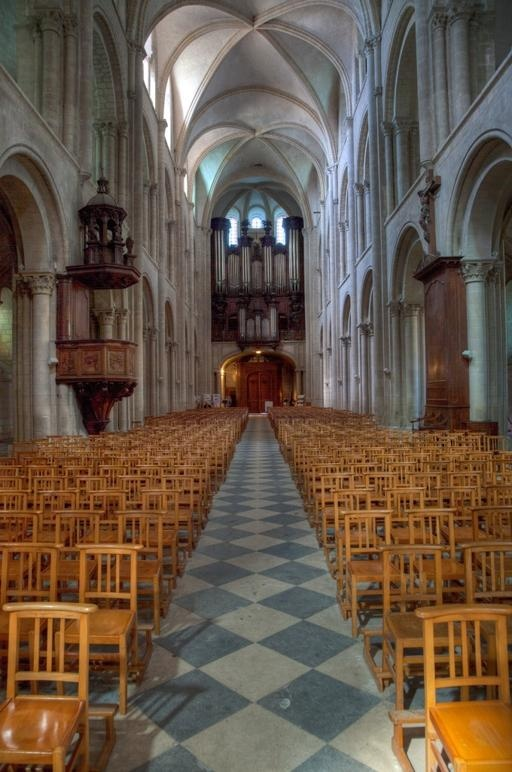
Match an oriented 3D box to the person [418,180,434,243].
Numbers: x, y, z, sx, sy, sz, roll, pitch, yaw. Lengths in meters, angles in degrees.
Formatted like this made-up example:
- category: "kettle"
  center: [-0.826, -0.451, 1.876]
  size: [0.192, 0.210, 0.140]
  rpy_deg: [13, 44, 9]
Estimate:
- category: "person"
  center: [4.010, -3.964, 14.837]
  size: [0.279, 1.276, 0.928]
  rpy_deg: [0, 4, 4]
